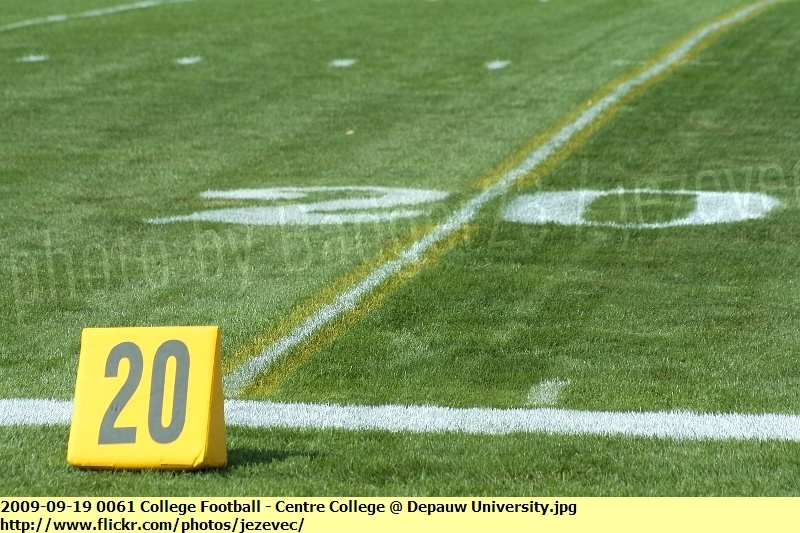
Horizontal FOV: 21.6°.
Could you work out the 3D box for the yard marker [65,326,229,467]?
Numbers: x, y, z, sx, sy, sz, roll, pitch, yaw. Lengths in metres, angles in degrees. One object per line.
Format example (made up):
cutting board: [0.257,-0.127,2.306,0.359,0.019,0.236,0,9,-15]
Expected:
yard marker: [-2.257,1.188,19.510,1.644,1.274,0.628,-4,-3,34]
